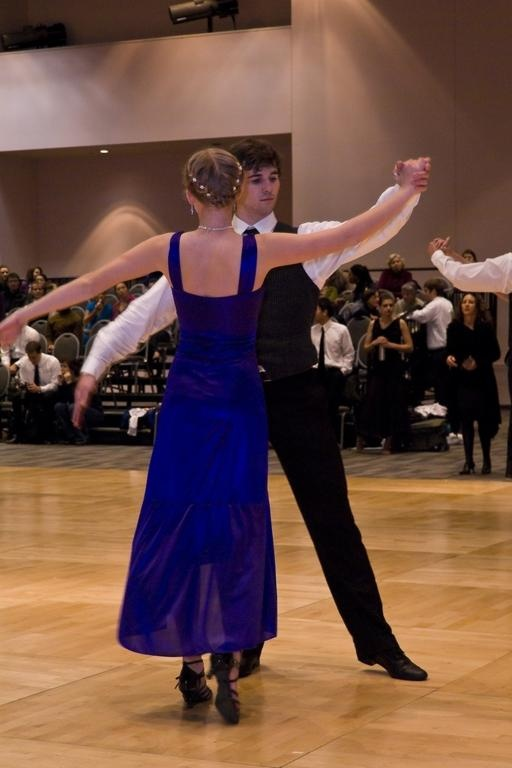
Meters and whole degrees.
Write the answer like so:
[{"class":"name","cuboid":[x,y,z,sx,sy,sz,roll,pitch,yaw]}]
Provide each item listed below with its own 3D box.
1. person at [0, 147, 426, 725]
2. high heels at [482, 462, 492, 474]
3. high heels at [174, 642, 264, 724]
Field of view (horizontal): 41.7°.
[{"class":"person","cuboid":[-0.106,0.037,1.463,0.835,1.081,0.270,-3,-11,6]},{"class":"high heels","cuboid":[2.391,0.885,7.008,0.062,0.110,0.178,-4,-13,14]},{"class":"high heels","cuboid":[-0.077,0.743,1.684,0.114,0.139,0.348,-2,-19,13]}]
